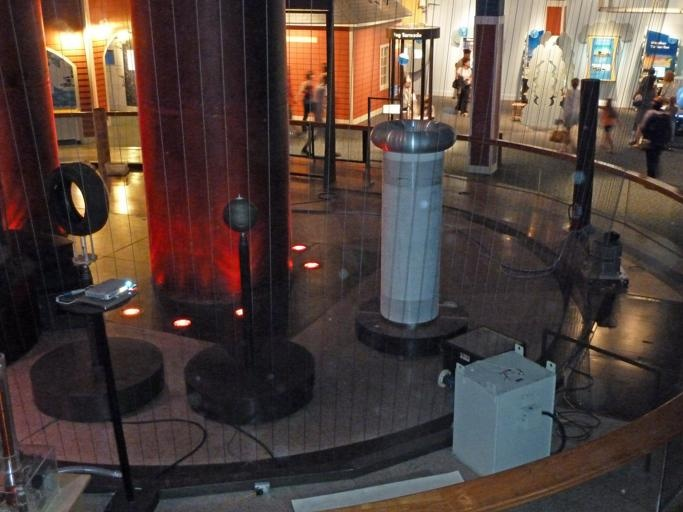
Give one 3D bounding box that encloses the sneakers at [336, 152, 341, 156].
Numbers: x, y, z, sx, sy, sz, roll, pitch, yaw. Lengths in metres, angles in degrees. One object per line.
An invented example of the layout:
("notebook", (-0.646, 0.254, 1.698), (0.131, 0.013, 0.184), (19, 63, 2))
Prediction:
("sneakers", (-0.068, -1.791, 10.304), (0.069, 0.080, 0.203), (-4, 9, -3))
